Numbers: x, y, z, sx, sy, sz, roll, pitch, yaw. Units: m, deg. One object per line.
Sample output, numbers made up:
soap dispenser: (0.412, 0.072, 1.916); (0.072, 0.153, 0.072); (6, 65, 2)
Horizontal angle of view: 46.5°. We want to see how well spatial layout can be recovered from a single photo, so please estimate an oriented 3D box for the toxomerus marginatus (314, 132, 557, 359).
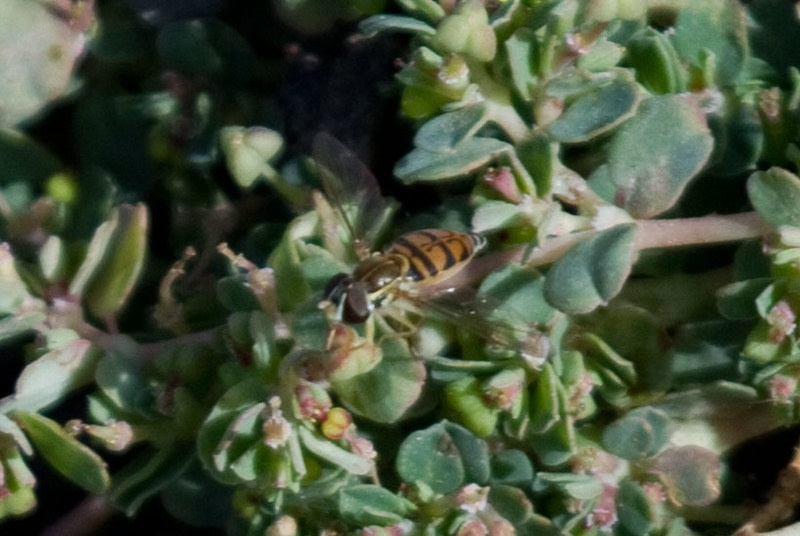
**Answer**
toxomerus marginatus: (0.009, 0.011, 1.250); (0.225, 0.157, 0.375); (-30, 58, -8)
